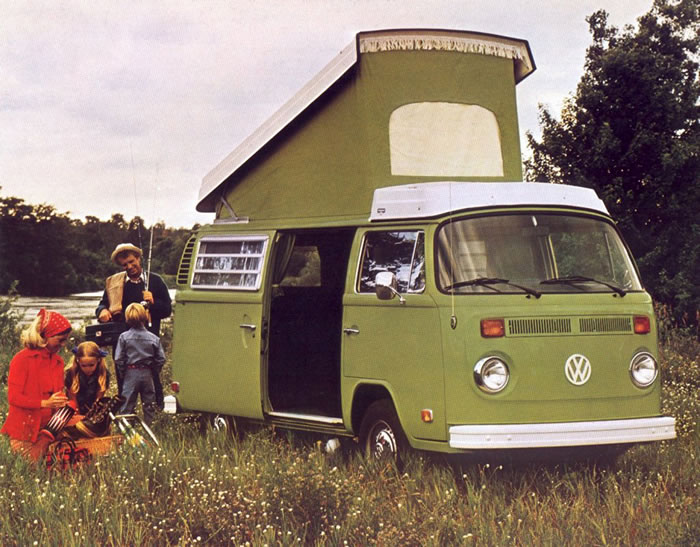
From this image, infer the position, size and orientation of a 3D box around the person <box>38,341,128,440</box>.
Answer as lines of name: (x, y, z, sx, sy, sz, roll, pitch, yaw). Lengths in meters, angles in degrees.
person: (-2.930, 1.301, 7.877, 0.534, 1.000, 0.782, 4, 13, -4)

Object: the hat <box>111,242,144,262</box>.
hat: (-3.129, -0.261, 9.686, 0.284, 0.154, 0.314, -9, -2, 25)

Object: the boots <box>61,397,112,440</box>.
boots: (-2.866, 1.568, 7.617, 0.657, 0.479, 0.223, 8, -22, -23)

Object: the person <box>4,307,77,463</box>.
person: (-3.194, 1.095, 7.199, 0.649, 1.460, 0.530, -1, 5, -24)
